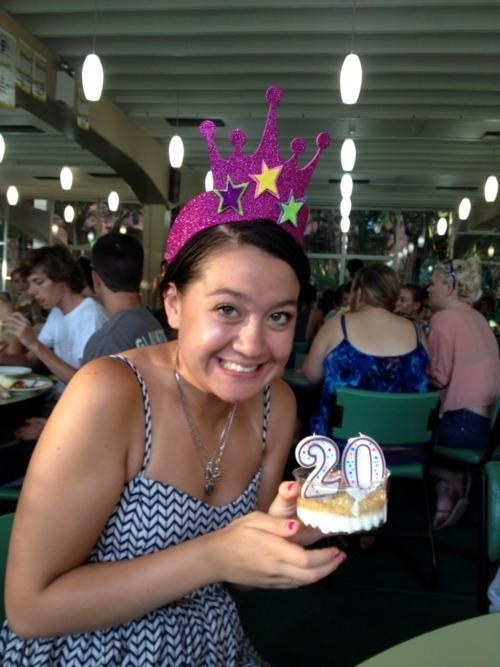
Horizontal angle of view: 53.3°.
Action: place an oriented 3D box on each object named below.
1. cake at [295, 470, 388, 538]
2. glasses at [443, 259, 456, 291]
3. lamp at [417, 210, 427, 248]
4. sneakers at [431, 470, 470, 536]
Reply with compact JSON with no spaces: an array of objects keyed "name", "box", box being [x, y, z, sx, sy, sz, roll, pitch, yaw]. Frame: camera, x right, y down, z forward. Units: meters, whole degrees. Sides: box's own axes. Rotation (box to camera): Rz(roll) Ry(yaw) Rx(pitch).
[{"name":"cake","box":[0.126,0.233,0.668,0.125,0.083,0.075,1,2,5]},{"name":"glasses","box":[1.267,-0.384,3.147,0.038,0.149,0.108,-1,6,-2]},{"name":"lamp","box":[4.657,-2.796,13.551,0.233,0.886,0.127,1,2,12]},{"name":"sneakers","box":[1.162,0.929,2.919,0.171,0.449,0.149,6,-22,0]}]
